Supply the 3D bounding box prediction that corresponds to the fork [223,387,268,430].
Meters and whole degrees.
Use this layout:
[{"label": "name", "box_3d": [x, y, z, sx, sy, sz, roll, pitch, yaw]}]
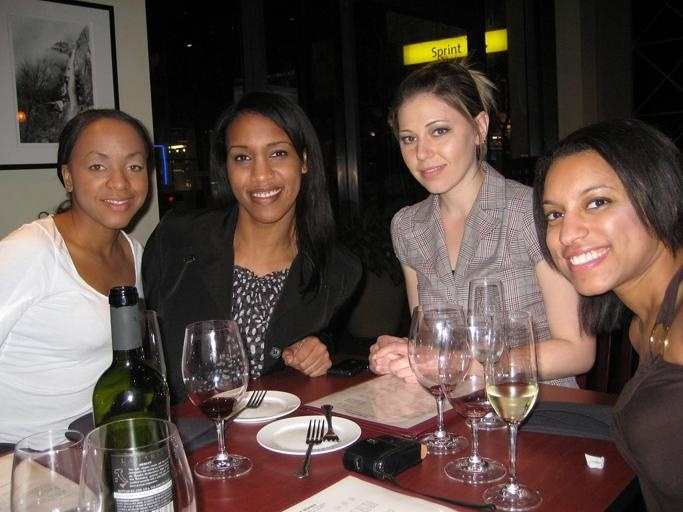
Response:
[{"label": "fork", "box_3d": [-0.270, 0.419, 1.507, 0.032, 0.028, 0.234, 12, 19, 16]}]
